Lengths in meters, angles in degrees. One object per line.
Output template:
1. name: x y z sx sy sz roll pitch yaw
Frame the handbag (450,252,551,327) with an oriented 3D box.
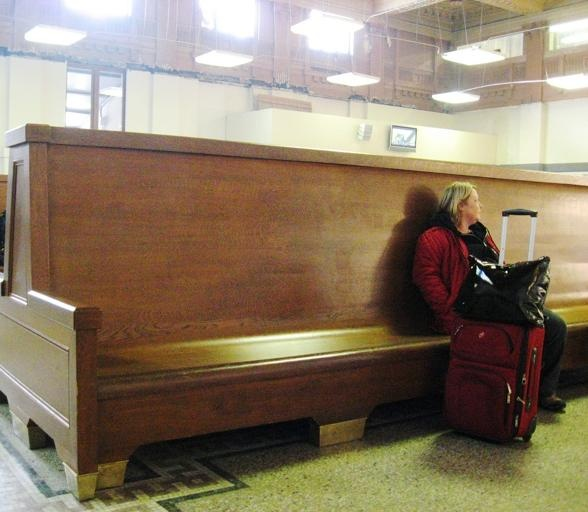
1. handbag: 0.981 0.170 2.459 0.460 0.326 0.204 1 -14 26

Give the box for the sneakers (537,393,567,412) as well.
1. sneakers: 1.495 0.862 2.979 0.087 0.064 0.160 3 -10 -34

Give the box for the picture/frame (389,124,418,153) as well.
1. picture/frame: 2.385 -2.610 11.203 0.851 0.520 0.104 -1 4 -27

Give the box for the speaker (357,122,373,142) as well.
1. speaker: 1.482 -2.655 10.713 0.442 0.361 0.220 -5 11 -34

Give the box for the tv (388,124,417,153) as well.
1. tv: 2.371 -2.612 11.193 0.842 0.517 0.107 0 4 -27
